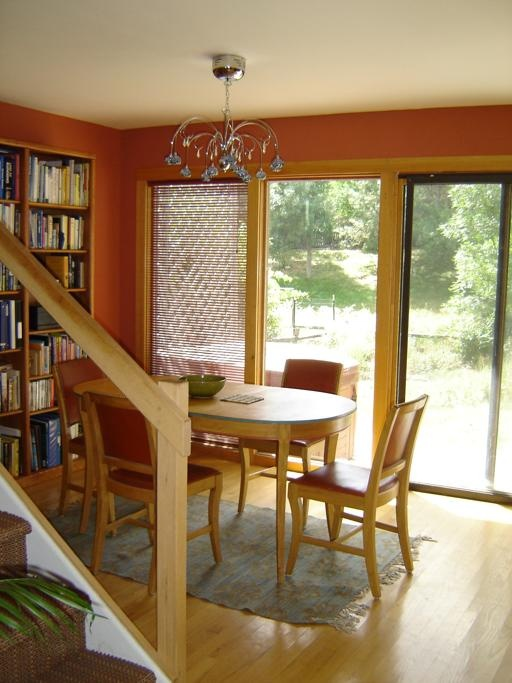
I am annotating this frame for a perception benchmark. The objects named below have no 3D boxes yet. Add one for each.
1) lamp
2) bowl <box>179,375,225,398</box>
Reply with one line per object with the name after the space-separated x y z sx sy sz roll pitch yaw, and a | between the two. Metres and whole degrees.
-0.185 -1.443 3.806 0.832 0.688 0.838 -21 41 -32 | lamp
-0.282 0.245 3.237 0.212 0.074 0.200 0 2 0 | bowl
